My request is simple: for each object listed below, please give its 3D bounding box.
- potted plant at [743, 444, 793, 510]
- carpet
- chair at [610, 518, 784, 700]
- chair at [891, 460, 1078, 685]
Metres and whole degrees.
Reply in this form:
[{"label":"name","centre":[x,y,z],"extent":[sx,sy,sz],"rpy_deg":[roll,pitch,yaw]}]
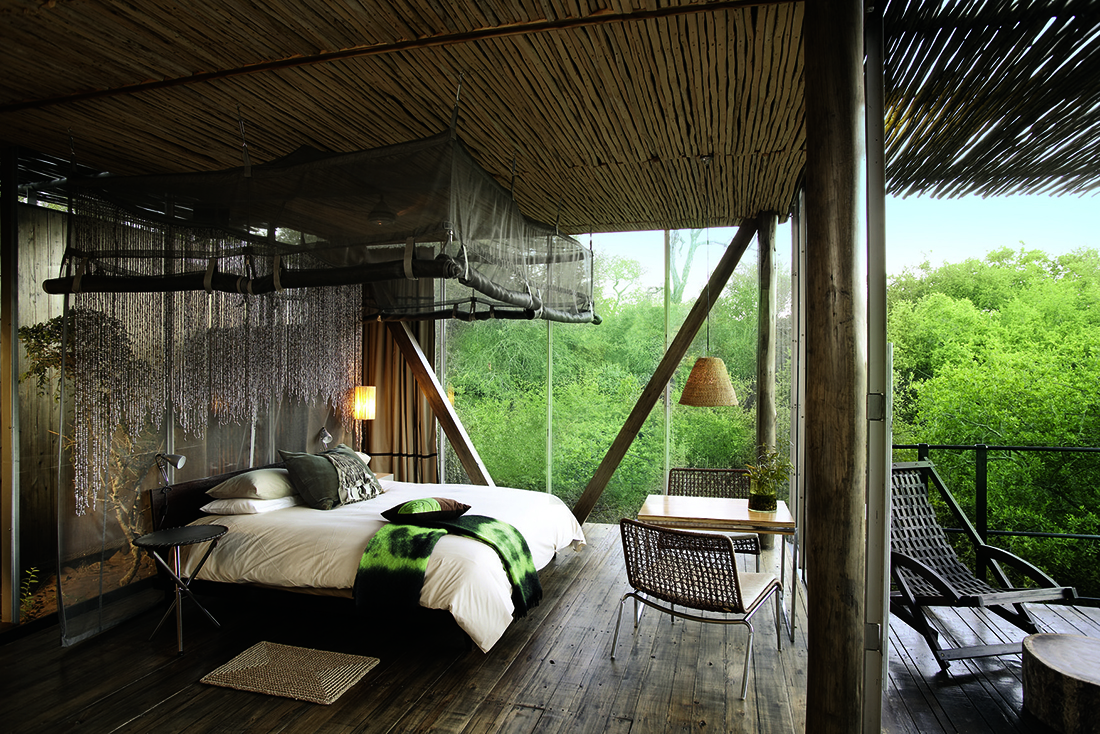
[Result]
[{"label":"potted plant","centre":[1.839,0.889,6.359],"extent":[0.460,0.618,0.443],"rpy_deg":[1,0,-34]},{"label":"carpet","centre":[-1.859,2.185,5.443],"extent":[1.137,0.042,0.555],"rpy_deg":[3,15,12]},{"label":"chair","centre":[1.105,1.495,5.850],"extent":[1.149,1.313,1.217],"rpy_deg":[2,8,32]},{"label":"chair","centre":[2.954,1.452,5.788],"extent":[0.893,1.125,1.623],"rpy_deg":[0,2,-8]}]
